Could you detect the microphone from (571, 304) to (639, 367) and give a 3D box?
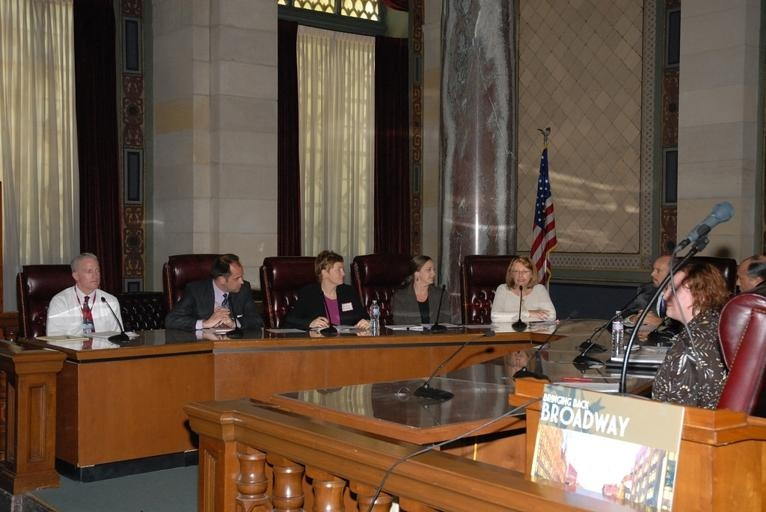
[{"bbox_3d":[1.503,0.530,4.770,0.180,0.227,0.496,0,14,40],"label":"microphone"}]

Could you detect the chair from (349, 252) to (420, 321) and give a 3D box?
[{"bbox_3d":[-0.062,0.300,6.476,0.542,0.833,0.553,2,-3,-19],"label":"chair"}]

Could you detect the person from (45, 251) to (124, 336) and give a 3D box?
[{"bbox_3d":[-2.309,0.291,5.428,0.636,0.872,0.466,3,-6,-40],"label":"person"}]

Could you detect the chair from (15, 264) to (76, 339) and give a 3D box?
[{"bbox_3d":[-2.594,0.345,5.555,0.470,0.708,0.480,0,3,-34],"label":"chair"}]

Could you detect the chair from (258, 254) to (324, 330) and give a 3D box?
[{"bbox_3d":[-0.808,0.278,5.748,0.486,0.785,0.514,0,5,-27],"label":"chair"}]

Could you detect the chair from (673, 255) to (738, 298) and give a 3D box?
[{"bbox_3d":[1.634,0.104,3.578,0.258,0.351,0.226,11,-11,-41],"label":"chair"}]

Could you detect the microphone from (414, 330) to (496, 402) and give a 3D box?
[{"bbox_3d":[0.248,0.503,3.057,0.268,0.318,0.072,2,40,23],"label":"microphone"}]

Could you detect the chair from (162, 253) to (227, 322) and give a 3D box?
[{"bbox_3d":[-1.407,0.238,5.536,0.401,0.627,0.473,2,-4,-12],"label":"chair"}]

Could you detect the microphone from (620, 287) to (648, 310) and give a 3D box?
[{"bbox_3d":[2.306,0.390,6.491,0.221,0.084,0.169,-23,-3,23],"label":"microphone"}]

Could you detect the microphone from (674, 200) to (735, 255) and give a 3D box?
[{"bbox_3d":[1.207,-0.105,2.651,0.171,0.184,0.523,0,3,27],"label":"microphone"}]

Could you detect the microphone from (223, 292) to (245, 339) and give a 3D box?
[{"bbox_3d":[-1.080,0.441,5.123,0.092,0.083,0.256,10,21,-22],"label":"microphone"}]
